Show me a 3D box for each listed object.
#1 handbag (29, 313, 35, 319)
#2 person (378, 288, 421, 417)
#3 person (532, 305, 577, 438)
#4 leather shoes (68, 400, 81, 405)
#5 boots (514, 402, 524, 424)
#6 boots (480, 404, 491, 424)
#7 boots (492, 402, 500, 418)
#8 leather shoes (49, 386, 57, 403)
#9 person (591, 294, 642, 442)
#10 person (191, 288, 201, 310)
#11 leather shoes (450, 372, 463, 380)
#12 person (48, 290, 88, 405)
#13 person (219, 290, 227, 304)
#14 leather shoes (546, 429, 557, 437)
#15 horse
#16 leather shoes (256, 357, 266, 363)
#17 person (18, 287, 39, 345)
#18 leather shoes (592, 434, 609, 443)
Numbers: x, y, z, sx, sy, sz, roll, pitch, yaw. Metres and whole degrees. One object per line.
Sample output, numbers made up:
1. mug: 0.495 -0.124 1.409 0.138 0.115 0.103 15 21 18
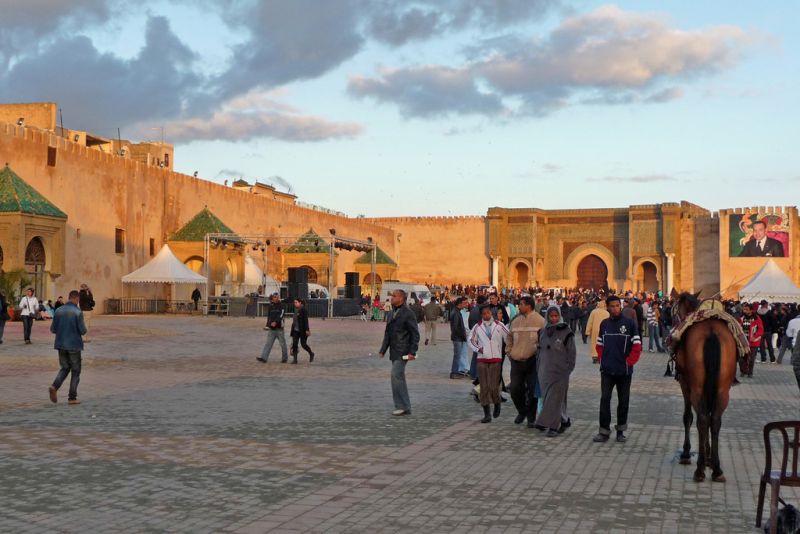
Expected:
1. handbag: -9.780 1.295 24.388 0.190 0.125 0.178 0 3 0
2. person: -0.037 1.372 15.168 0.623 1.988 0.867 -1 -1 -1
3. person: 2.290 1.526 13.726 0.589 1.853 0.668 -1 -1 7
4. leather shoes: -5.467 2.260 15.439 0.155 0.059 0.063 -1 3 -6
5. boots: 1.852 2.276 14.402 0.151 0.318 0.329 -1 -1 5
6. boots: 1.335 2.261 14.421 0.159 0.285 0.325 -1 -1 5
7. boots: 1.497 2.225 14.510 0.102 0.274 0.125 2 -9 22
8. leather shoes: -5.830 2.129 15.445 0.113 0.275 0.132 -5 20 0
9. person: 3.131 1.440 13.405 0.667 2.060 0.703 -1 -1 13
10. person: -9.308 1.451 42.081 0.430 0.988 1.649 -1 -1 -13
11. leather shoes: 1.155 2.263 19.282 0.267 0.170 0.098 -2 1 13
12. person: -5.684 1.345 15.690 0.580 1.867 0.658 -1 -1 -20
13. person: -7.891 1.306 41.084 0.328 0.534 1.178 -1 -1 -12
14. leather shoes: 2.201 2.404 13.425 0.131 0.048 0.215 -1 0 1
15. horse: 4.328 1.368 13.144 0.816 2.126 3.198 1 10 15
16. leather shoes: -3.224 2.145 21.362 0.215 0.158 0.434 -1 0 -9
17. person: -9.862 1.250 24.338 0.501 1.434 0.645 -2 -8 16
18. leather shoes: 2.855 2.414 13.167 0.221 0.135 0.228 -1 -1 11
